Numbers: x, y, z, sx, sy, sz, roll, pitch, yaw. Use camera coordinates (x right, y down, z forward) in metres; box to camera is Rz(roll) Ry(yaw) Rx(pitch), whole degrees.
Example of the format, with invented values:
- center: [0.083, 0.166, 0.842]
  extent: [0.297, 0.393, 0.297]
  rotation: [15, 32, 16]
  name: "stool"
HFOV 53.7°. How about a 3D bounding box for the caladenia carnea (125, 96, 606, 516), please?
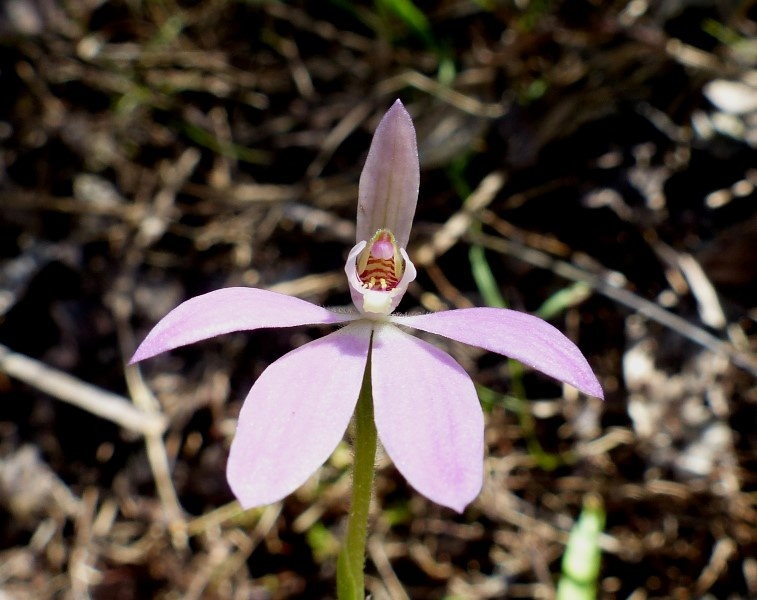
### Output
- center: [-0.031, 0.181, 2.693]
  extent: [1.279, 0.646, 1.182]
  rotation: [-44, 86, -7]
  name: "caladenia carnea"
